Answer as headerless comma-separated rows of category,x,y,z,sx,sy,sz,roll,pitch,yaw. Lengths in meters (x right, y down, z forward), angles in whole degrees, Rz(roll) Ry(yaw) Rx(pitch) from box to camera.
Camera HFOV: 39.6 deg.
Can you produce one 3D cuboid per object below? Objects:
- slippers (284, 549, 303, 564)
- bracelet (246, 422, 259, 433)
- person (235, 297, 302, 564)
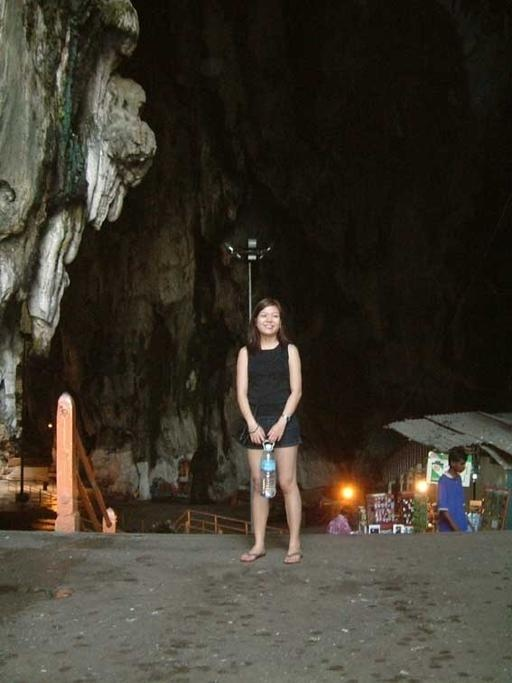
slippers,0.198,1.178,3.873,0.096,0.052,0.159,-1,-3,3
bracelet,-0.028,0.481,3.899,0.030,0.038,0.089,1,-3,-39
person,0.069,0.489,4.015,0.364,1.462,0.359,0,-1,3
